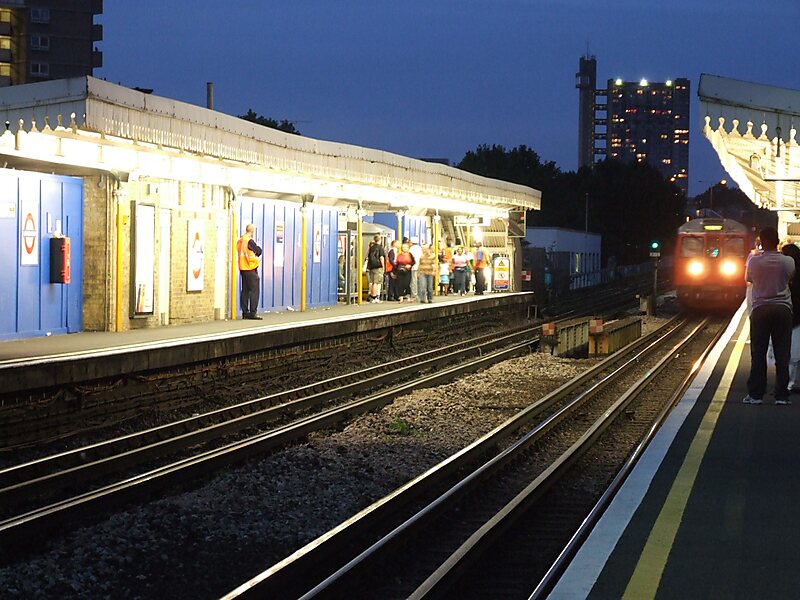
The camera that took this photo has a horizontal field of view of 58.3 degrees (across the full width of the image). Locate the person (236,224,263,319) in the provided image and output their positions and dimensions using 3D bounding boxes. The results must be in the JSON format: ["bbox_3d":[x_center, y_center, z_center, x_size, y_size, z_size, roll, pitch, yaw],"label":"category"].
[{"bbox_3d":[-3.506,-0.601,16.721,0.490,2.265,1.219,0,4,-13],"label":"person"}]

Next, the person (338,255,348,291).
[{"bbox_3d":[-1.832,-0.834,23.172,0.260,1.239,0.369,1,4,-6],"label":"person"}]

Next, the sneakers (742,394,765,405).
[{"bbox_3d":[4.632,1.294,9.323,0.236,0.133,0.119,-3,3,18],"label":"sneakers"}]

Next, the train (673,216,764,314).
[{"bbox_3d":[15.754,-1.457,35.892,3.226,6.489,11.647,0,0,16],"label":"train"}]

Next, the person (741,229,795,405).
[{"bbox_3d":[4.762,0.217,9.161,0.560,2.260,0.310,2,3,9],"label":"person"}]
